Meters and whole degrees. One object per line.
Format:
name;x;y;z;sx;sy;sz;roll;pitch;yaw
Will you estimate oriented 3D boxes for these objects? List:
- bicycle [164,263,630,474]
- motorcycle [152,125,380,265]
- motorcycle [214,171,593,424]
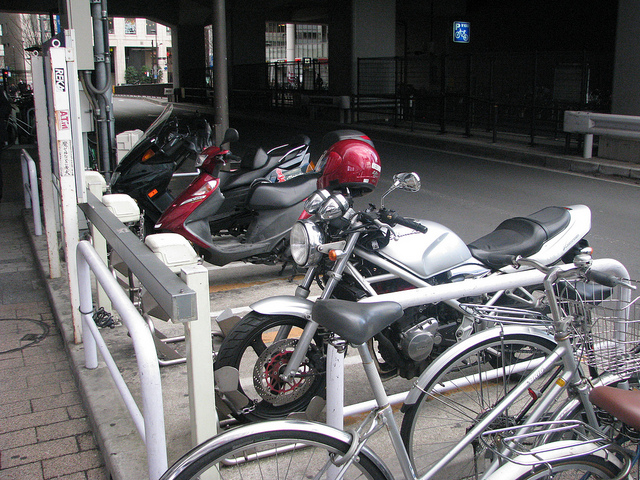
bicycle;0.462;0.694;2.695;2.386;0.930;0.787;-6;39;-8
motorcycle;-0.835;-0.419;5.455;3.258;1.441;1.144;-7;15;-34
motorcycle;0.746;0.223;3.913;3.268;1.524;1.326;-8;21;-17
